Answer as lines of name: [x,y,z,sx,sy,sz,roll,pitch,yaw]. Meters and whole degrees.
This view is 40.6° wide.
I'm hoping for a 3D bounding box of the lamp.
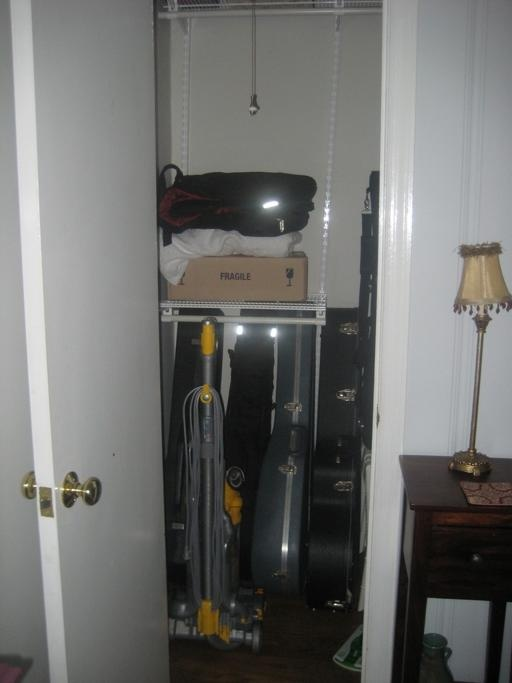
lamp: [0.503,0.037,1.564,0.125,0.519,0.207,3,5,17]
